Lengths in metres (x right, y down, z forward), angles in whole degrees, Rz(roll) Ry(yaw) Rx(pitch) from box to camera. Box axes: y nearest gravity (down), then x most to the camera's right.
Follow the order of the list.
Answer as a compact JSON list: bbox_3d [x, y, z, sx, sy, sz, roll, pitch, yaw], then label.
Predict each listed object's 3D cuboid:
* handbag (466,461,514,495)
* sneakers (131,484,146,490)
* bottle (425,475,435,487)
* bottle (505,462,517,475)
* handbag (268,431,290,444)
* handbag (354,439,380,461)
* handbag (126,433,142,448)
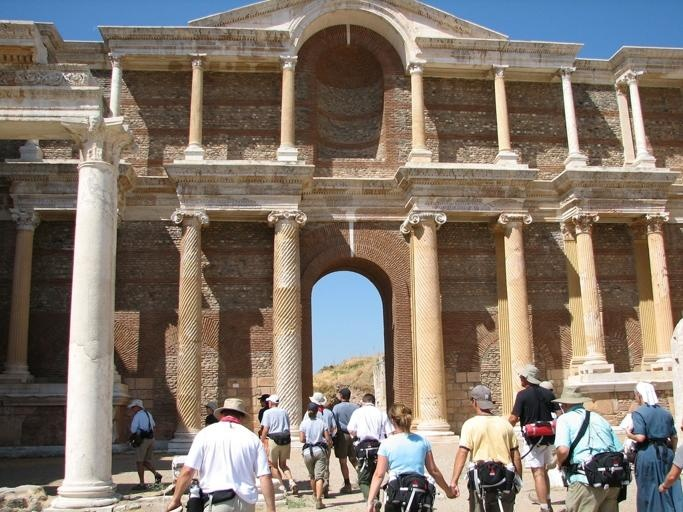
[{"bbox_3d":[2.303,3.398,12.438,0.597,0.243,0.700,0,-11,6],"label":"handbag"},{"bbox_3d":[-4.270,4.884,17.118,0.271,0.117,0.315,2,-15,-13],"label":"sneakers"},{"bbox_3d":[1.304,3.390,12.183,0.048,0.144,0.125,-32,-25,36],"label":"bottle"},{"bbox_3d":[2.591,3.282,12.494,0.152,0.162,0.182,-10,8,5],"label":"bottle"},{"bbox_3d":[-1.221,3.680,16.421,0.314,0.134,0.336,3,-10,-18],"label":"handbag"},{"bbox_3d":[0.476,3.495,14.735,0.511,0.392,0.307,2,-42,5],"label":"handbag"},{"bbox_3d":[-4.508,4.032,17.745,0.223,0.316,0.255,11,-21,-37],"label":"handbag"}]
